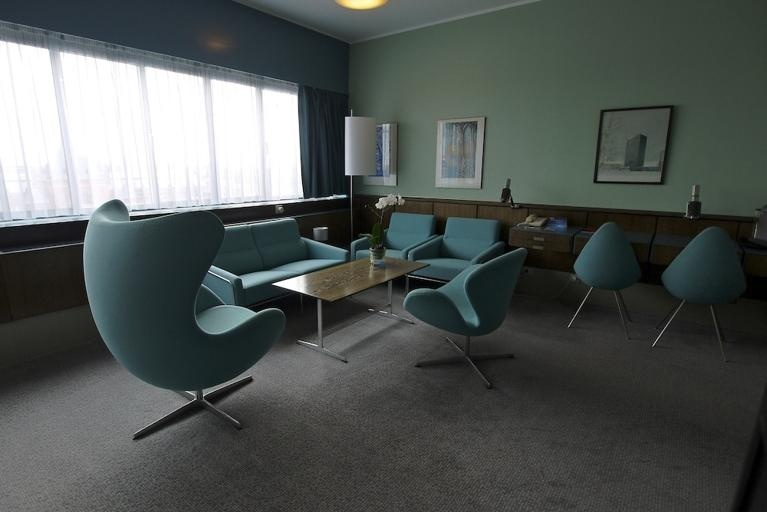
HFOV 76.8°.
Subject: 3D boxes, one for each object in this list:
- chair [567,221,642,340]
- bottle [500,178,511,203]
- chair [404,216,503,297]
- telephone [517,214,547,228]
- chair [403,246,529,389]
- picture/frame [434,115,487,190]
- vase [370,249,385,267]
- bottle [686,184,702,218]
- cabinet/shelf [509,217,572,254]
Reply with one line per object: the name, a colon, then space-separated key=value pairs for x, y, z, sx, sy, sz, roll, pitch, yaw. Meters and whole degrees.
chair: x=2.418 y=0.198 z=5.287 sx=0.638 sy=1.183 sz=0.687 roll=7 pitch=16 yaw=28
bottle: x=1.615 y=-0.857 z=6.409 sx=0.154 sy=0.341 sz=0.358 roll=3 pitch=14 yaw=14
chair: x=0.991 y=-0.005 z=6.408 sx=0.997 sy=1.133 sz=1.095 roll=5 pitch=9 yaw=34
telephone: x=1.846 y=-0.429 z=6.028 sx=0.230 sy=0.075 sz=0.244 roll=6 pitch=15 yaw=31
chair: x=0.690 y=0.349 z=4.649 sx=1.220 sy=1.378 sz=1.295 roll=7 pitch=14 yaw=35
picture/frame: x=1.086 y=-1.489 z=6.772 sx=1.019 sy=1.252 sz=0.087 roll=5 pitch=8 yaw=33
vase: x=-0.069 y=0.020 z=5.361 sx=0.183 sy=0.195 sz=0.158 roll=3 pitch=7 yaw=12
bottle: x=3.427 y=-0.599 z=5.371 sx=0.151 sy=0.408 sz=0.384 roll=9 pitch=17 yaw=33
cabinet/shelf: x=1.925 y=-0.229 z=5.929 sx=0.790 sy=0.409 sz=0.547 roll=6 pitch=15 yaw=25
